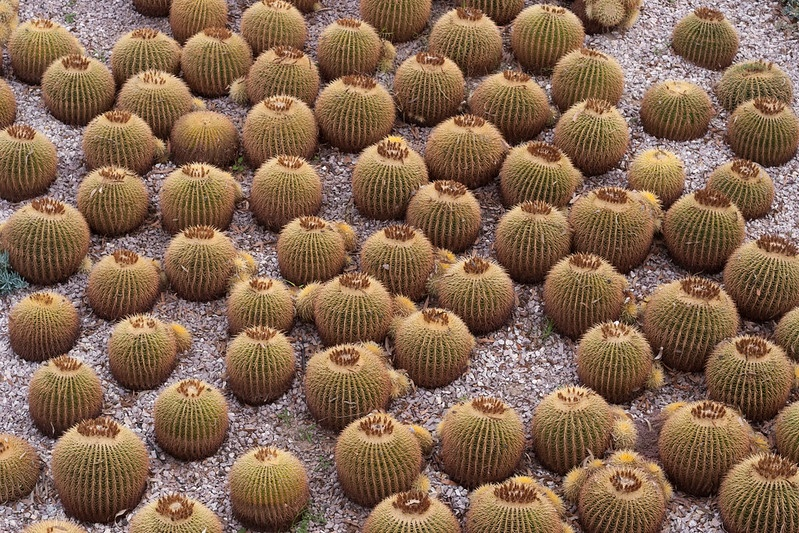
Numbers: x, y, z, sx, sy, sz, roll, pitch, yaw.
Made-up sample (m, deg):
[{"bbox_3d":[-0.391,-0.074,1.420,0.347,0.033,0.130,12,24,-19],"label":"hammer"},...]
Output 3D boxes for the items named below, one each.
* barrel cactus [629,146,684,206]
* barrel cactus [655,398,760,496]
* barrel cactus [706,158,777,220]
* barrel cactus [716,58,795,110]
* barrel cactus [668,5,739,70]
[{"bbox_3d":[2.392,-0.845,7.577,0.498,0.505,0.509,11,44,16],"label":"barrel cactus"},{"bbox_3d":[2.303,1.297,6.159,0.663,0.666,0.676,12,34,27],"label":"barrel cactus"},{"bbox_3d":[3.182,-0.739,7.649,0.566,0.581,0.579,12,30,14],"label":"barrel cactus"},{"bbox_3d":[3.624,-1.862,8.385,0.577,0.337,0.598,-7,33,2],"label":"barrel cactus"},{"bbox_3d":[3.278,-2.426,8.786,0.648,0.677,0.645,17,44,24],"label":"barrel cactus"}]
